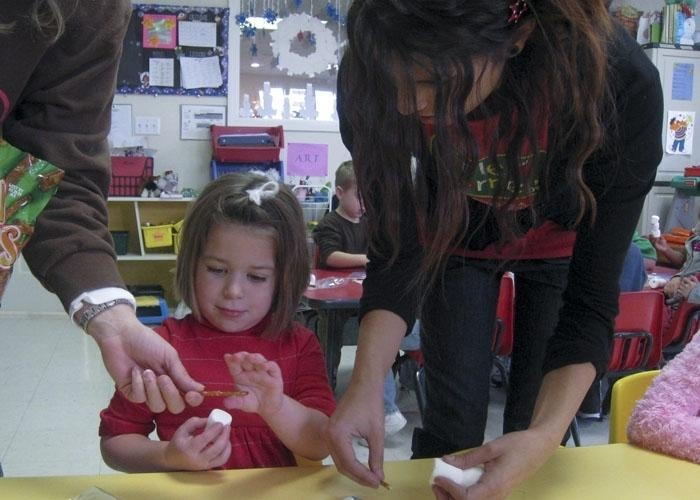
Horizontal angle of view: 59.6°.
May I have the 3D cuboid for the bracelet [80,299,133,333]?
[{"bbox_3d":[-0.506,0.131,1.257,0.113,0.061,0.030,-2,10,-26],"label":"bracelet"}]
